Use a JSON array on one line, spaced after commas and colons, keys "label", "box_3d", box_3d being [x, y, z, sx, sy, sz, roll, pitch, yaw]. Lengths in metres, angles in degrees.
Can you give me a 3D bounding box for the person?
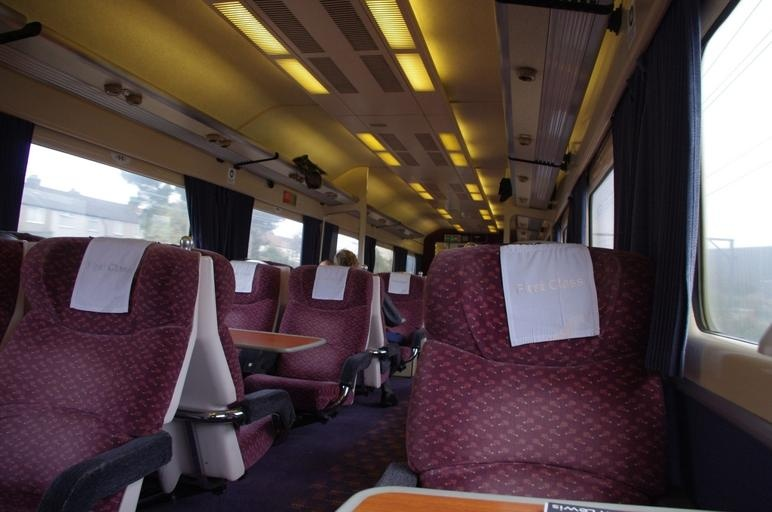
[{"label": "person", "box_3d": [-0.303, 0.337, 5.277, 0.752, 1.095, 0.904, -2, 1, 31]}]
